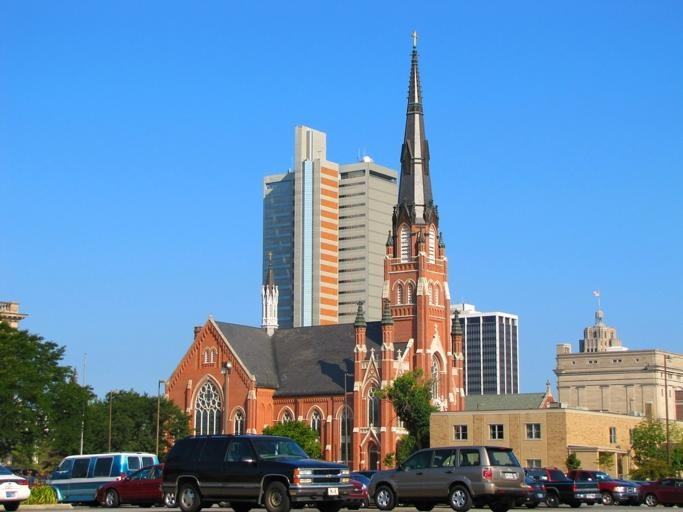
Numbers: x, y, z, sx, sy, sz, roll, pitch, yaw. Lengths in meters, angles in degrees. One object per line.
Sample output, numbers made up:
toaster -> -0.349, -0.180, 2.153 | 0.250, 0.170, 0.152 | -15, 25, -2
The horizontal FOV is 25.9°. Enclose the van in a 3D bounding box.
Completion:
van -> -15.468, 14.109, 94.299 | 5.960, 2.922, 3.499 | -2, -8, 30

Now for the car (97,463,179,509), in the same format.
car -> -12.514, 13.981, 90.812 | 5.377, 1.868, 2.687 | -2, -11, 29
